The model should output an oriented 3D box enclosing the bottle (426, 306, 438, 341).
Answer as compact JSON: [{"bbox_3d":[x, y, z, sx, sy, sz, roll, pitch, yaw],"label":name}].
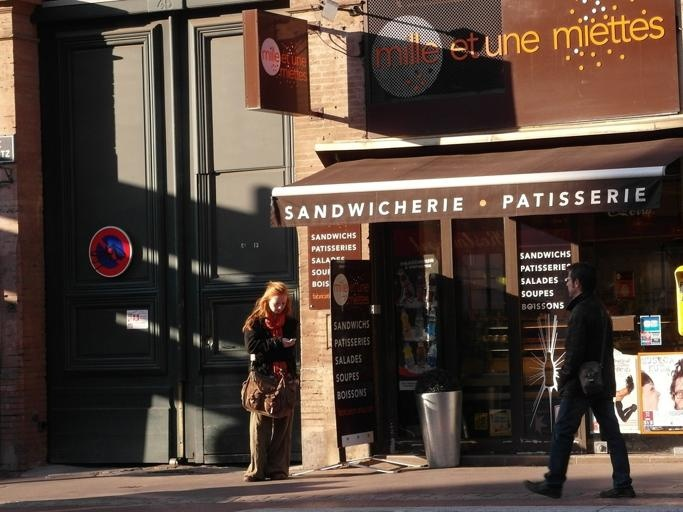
[{"bbox_3d":[1.245,0.937,16.547,0.143,0.457,0.054,-2,-8,13],"label":"bottle"}]

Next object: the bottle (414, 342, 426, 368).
[{"bbox_3d":[1.097,1.354,16.574,0.160,0.349,0.045,-1,-8,6],"label":"bottle"}]

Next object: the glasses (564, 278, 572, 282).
[{"bbox_3d":[2.772,0.294,14.792,0.050,0.066,0.093,2,-2,-3],"label":"glasses"}]

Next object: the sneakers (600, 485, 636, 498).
[{"bbox_3d":[3.169,2.714,13.911,0.355,0.153,0.154,2,-3,12],"label":"sneakers"}]

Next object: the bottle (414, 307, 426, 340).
[{"bbox_3d":[1.081,0.935,16.599,0.162,0.453,0.058,-1,-8,6],"label":"bottle"}]

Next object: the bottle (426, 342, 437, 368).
[{"bbox_3d":[1.241,1.374,16.534,0.147,0.338,0.030,-4,-8,23],"label":"bottle"}]

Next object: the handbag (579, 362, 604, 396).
[{"bbox_3d":[2.843,1.417,13.828,0.351,0.479,0.256,-2,-4,21],"label":"handbag"}]
